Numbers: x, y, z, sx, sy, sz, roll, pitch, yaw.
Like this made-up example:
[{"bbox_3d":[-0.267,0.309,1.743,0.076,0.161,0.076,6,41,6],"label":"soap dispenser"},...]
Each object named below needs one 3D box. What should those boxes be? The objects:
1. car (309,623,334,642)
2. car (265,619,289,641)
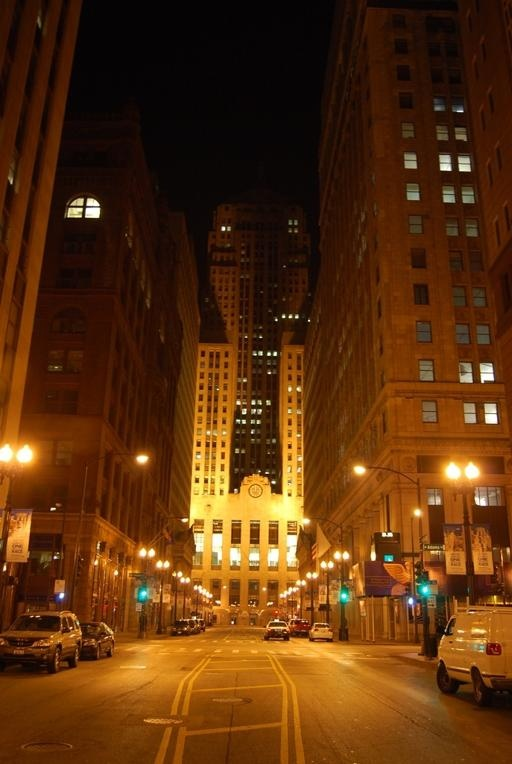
[{"bbox_3d":[6.137,23.615,56.017,1.117,1.344,2.656,1,-15,1],"label":"car"},{"bbox_3d":[2.051,23.407,55.893,1.879,1.687,2.513,-6,-22,17],"label":"car"}]
